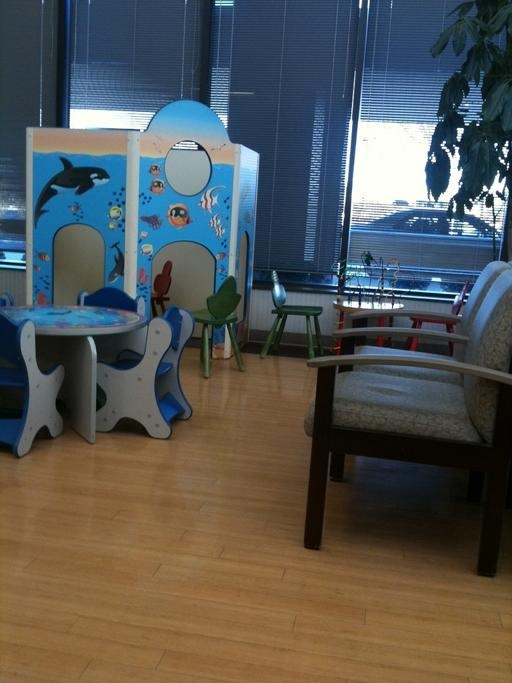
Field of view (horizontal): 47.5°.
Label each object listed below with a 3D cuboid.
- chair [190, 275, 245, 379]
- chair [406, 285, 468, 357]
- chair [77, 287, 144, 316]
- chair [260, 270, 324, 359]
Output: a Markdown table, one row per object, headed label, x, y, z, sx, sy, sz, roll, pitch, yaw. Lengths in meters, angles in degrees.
| label | x | y | z | sx | sy | sz | roll | pitch | yaw |
| --- | --- | --- | --- | --- | --- | --- | --- | --- | --- |
| chair | -0.247 | -0.137 | 3.950 | 0.344 | 0.636 | 0.752 | 3 | 9 | -3 |
| chair | 1.305 | -0.170 | 4.175 | 0.387 | 0.547 | 0.302 | 5 | 0 | 16 |
| chair | -0.780 | -0.226 | 3.086 | 0.220 | 0.129 | 0.222 | 3 | 7 | 15 |
| chair | 0.275 | -0.224 | 4.505 | 0.459 | 0.602 | 0.485 | 6 | 12 | 32 |
